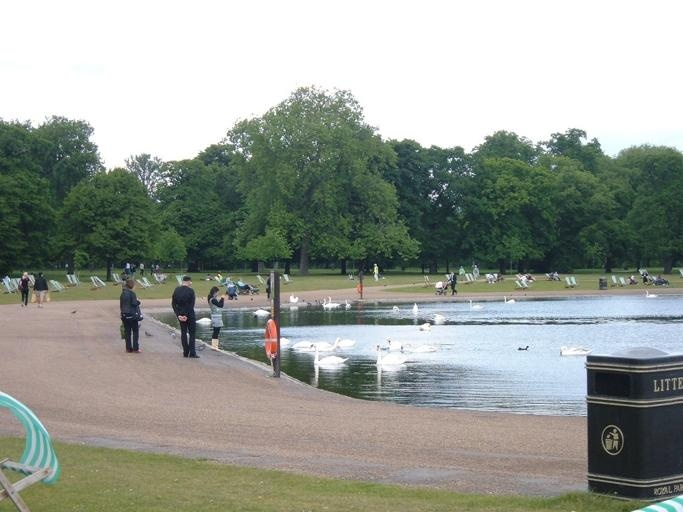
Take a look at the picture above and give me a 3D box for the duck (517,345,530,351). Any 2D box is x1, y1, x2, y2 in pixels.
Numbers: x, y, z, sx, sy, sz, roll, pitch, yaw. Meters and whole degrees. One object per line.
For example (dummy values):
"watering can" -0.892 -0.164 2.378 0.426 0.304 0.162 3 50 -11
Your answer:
"duck" 8.543 4.338 61.169 0.273 0.156 0.365 4 0 -36

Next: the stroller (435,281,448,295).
"stroller" 7.567 2.545 99.959 0.827 1.007 1.167 -1 -7 12

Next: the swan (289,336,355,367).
"swan" -0.720 4.550 60.470 3.329 1.153 1.087 -1 2 -34

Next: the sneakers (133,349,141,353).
"sneakers" -8.772 4.140 56.310 0.330 0.122 0.114 -5 1 13

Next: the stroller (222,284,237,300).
"stroller" -7.767 2.561 91.698 0.731 0.651 1.357 8 22 9

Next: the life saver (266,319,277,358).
"life saver" -2.804 3.413 53.391 0.449 1.608 0.979 0 -4 -2

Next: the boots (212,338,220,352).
"boots" -5.711 4.092 59.746 0.485 0.716 0.487 2 -5 -2

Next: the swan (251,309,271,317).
"swan" -4.765 3.533 78.883 0.672 0.198 0.641 0 7 -11

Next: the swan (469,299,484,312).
"swan" 8.799 3.366 84.633 1.380 1.024 0.485 0 -2 -37

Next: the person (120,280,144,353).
"person" -9.097 2.638 56.035 0.750 3.266 0.968 4 3 2

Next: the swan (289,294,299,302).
"swan" -3.183 2.926 88.798 0.479 0.596 0.201 2 -15 -6
